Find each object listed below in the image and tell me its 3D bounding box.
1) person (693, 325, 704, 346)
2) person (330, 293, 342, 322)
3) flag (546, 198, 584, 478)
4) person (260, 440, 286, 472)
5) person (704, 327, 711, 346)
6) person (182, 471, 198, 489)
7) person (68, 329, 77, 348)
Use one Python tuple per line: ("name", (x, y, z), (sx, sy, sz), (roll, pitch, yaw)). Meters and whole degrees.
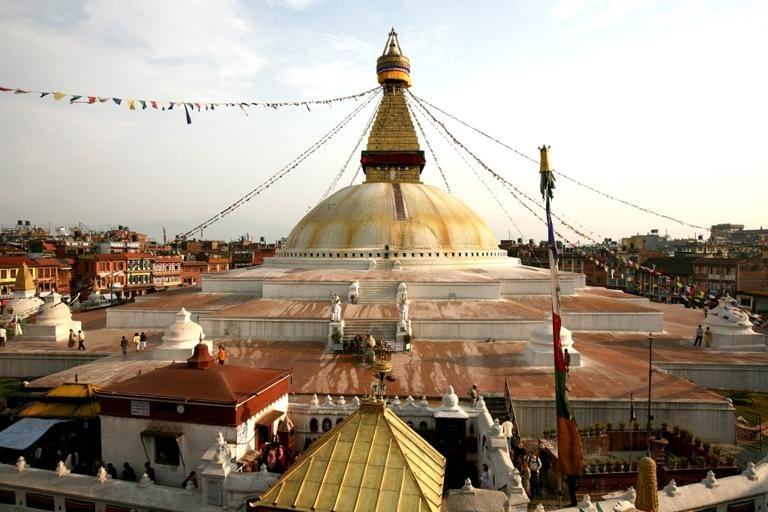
("person", (13.888, 3.555, 27.119), (0.551, 0.811, 0.384), (0, -1, -2))
("person", (-2.013, 2.271, 26.568), (0.388, 1.156, 0.473), (1, -1, -2))
("flag", (4.647, 2.149, 15.848), (0.855, 7.201, 1.070), (0, -1, 12))
("person", (-3.256, 5.836, 17.931), (0.626, 0.250, 0.762), (0, 38, -8))
("person", (14.258, 3.549, 27.100), (0.373, 0.823, 0.274), (1, -1, -33))
("person", (-5.507, 6.394, 17.524), (0.356, 0.502, 0.860), (1, -1, -21))
("person", (-13.907, 3.695, 27.544), (0.333, 0.699, 1.107), (1, -1, -27))
